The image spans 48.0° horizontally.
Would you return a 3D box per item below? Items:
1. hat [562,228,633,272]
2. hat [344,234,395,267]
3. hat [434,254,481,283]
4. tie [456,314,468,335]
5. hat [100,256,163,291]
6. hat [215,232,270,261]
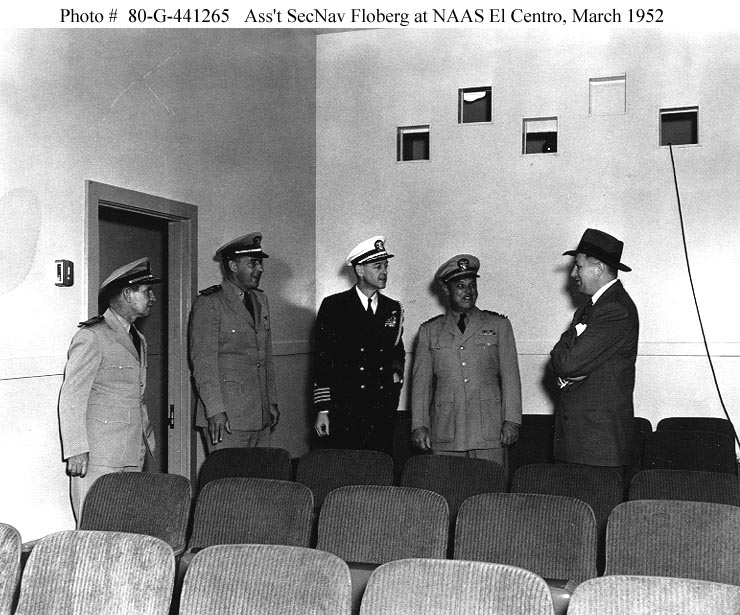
[{"bbox_3d":[1.244,-0.332,4.444,0.378,0.168,0.341,20,15,2],"label":"hat"},{"bbox_3d":[-0.033,-0.330,5.153,0.248,0.109,0.216,-24,-10,37],"label":"hat"},{"bbox_3d":[0.543,-0.252,5.110,0.188,0.105,0.219,-5,-14,-29],"label":"hat"},{"bbox_3d":[0.547,0.094,4.938,0.033,0.145,0.020,-1,-38,19],"label":"tie"},{"bbox_3d":[-1.224,-0.158,4.222,0.232,0.112,0.207,-3,3,-5],"label":"hat"},{"bbox_3d":[-0.814,-0.365,5.192,0.264,0.126,0.242,-3,-1,24],"label":"hat"}]
